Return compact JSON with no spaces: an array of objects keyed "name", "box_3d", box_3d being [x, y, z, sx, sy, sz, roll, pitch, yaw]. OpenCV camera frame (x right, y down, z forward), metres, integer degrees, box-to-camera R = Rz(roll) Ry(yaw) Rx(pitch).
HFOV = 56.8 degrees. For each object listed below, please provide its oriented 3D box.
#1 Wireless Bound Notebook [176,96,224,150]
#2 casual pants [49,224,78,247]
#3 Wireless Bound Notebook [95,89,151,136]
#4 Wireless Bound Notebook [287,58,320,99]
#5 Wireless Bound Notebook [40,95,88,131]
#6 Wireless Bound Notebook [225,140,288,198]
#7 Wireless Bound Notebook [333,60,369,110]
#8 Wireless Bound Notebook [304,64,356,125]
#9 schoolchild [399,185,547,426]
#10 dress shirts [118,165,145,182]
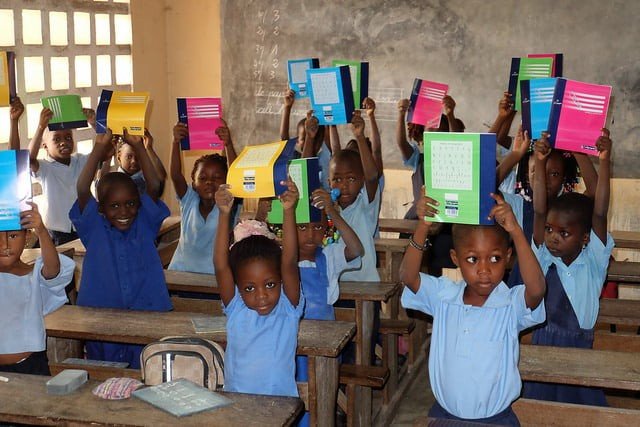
[{"name":"Wireless Bound Notebook","box_3d":[-0.741,-0.557,3.654,0.336,0.369,0.039,-1,9,-4]},{"name":"casual pants","box_3d":[-1.999,0.175,4.626,0.246,0.218,0.056,6,-2,-33]},{"name":"Wireless Bound Notebook","box_3d":[-1.104,-0.607,3.404,0.304,0.204,0.300,6,30,8]},{"name":"Wireless Bound Notebook","box_3d":[-0.142,-0.947,4.101,0.277,0.263,0.067,-5,17,2]},{"name":"Wireless Bound Notebook","box_3d":[-1.637,-0.662,3.825,0.255,0.225,0.185,-1,9,-9]},{"name":"Wireless Bound Notebook","box_3d":[-0.241,-0.219,2.678,0.351,0.149,0.351,-5,27,12]},{"name":"Wireless Bound Notebook","box_3d":[0.266,-0.904,4.130,0.091,0.321,0.342,-2,12,-8]},{"name":"Wireless Bound Notebook","box_3d":[0.069,-0.758,3.788,0.346,0.340,0.092,3,15,17]},{"name":"schoolchild","box_3d":[0.613,0.391,2.395,0.582,0.968,0.322,1,10,7]},{"name":"dress shirts","box_3d":[-1.311,-0.271,4.122,0.183,0.135,0.234,-2,6,-3]}]
